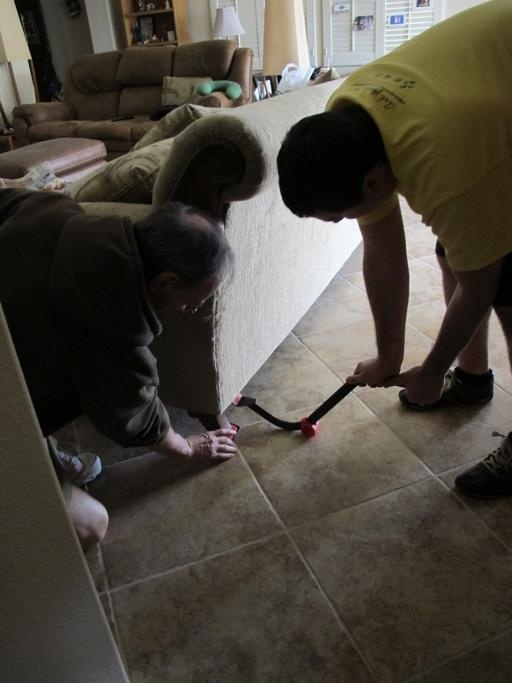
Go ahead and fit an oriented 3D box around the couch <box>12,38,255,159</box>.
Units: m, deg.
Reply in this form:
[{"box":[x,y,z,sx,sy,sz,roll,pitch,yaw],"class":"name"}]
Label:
[{"box":[-1.215,-2.349,5.281,2.414,1.079,1.032,10,31,24],"class":"couch"}]
